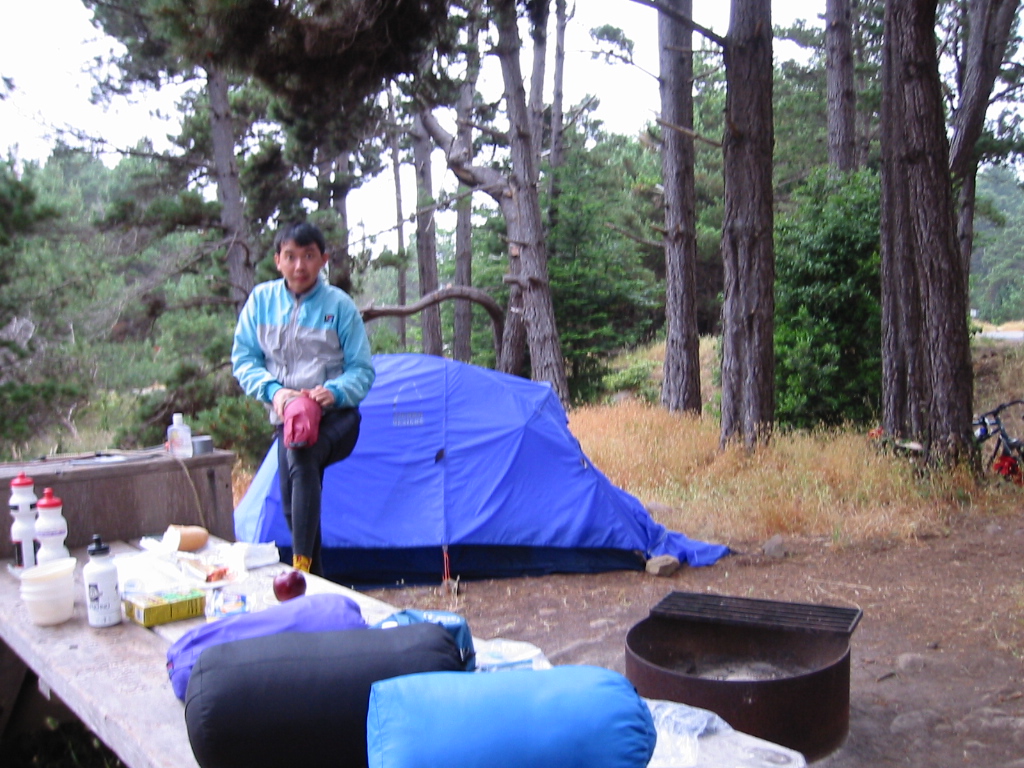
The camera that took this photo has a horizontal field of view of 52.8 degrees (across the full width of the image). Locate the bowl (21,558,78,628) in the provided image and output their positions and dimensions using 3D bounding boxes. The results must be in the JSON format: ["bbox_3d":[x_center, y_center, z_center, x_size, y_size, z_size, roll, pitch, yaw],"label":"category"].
[{"bbox_3d":[-2.677,1.243,6.076,0.234,0.401,0.329,-6,-8,-2],"label":"bowl"}]

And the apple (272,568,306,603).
[{"bbox_3d":[-1.275,1.175,5.943,0.137,0.206,0.169,0,5,12],"label":"apple"}]

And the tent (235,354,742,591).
[{"bbox_3d":[-0.430,0.903,9.261,2.480,1.484,2.359,1,-1,-6],"label":"tent"}]

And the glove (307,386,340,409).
[{"bbox_3d":[-1.277,0.109,6.961,0.203,0.144,0.062,-7,2,-15],"label":"glove"}]

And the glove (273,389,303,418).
[{"bbox_3d":[-1.509,0.149,6.980,0.155,0.206,0.151,2,-8,-2],"label":"glove"}]
